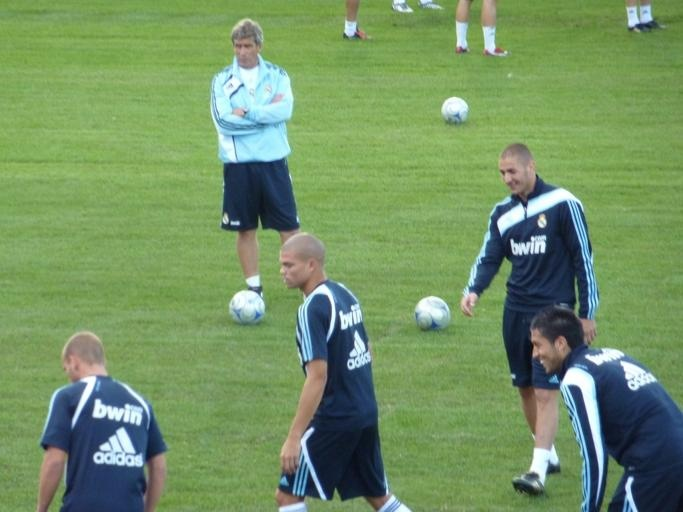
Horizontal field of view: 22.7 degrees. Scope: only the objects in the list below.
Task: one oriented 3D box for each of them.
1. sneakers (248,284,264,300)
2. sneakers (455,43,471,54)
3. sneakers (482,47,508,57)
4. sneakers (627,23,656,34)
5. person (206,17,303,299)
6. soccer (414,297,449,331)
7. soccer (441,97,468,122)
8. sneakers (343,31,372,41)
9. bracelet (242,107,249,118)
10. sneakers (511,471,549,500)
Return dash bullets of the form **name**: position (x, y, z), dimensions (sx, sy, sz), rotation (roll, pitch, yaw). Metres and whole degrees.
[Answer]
- **sneakers**: position (-1.223, 0.487, 24.255), dimensions (0.159, 0.141, 0.168), rotation (1, 8, 22)
- **sneakers**: position (2.313, -4.009, 32.367), dimensions (0.164, 0.188, 0.422), rotation (3, 10, 16)
- **sneakers**: position (2.880, -3.881, 31.863), dimensions (0.457, 0.188, 0.175), rotation (-2, 15, -8)
- **sneakers**: position (5.857, -4.511, 33.255), dimensions (0.338, 0.135, 0.201), rotation (1, 12, 27)
- **person**: position (-1.253, -1.428, 24.235), dimensions (1.155, 3.921, 0.668), rotation (-2, 9, -6)
- **soccer**: position (1.284, 0.788, 23.969), dimensions (0.481, 0.451, 0.252), rotation (-1, 9, 4)
- **soccer**: position (1.968, -2.567, 29.553), dimensions (0.433, 0.447, 0.316), rotation (-1, 9, 3)
- **sneakers**: position (0.314, -4.352, 33.112), dimensions (0.499, 0.224, 0.186), rotation (0, 15, -5)
- **bracelet**: position (-1.380, -2.075, 24.129), dimensions (0.078, 0.116, 0.052), rotation (7, -28, 6)
- **sneakers**: position (2.384, 2.877, 21.400), dimensions (0.225, 0.225, 0.457), rotation (-39, 25, -27)
